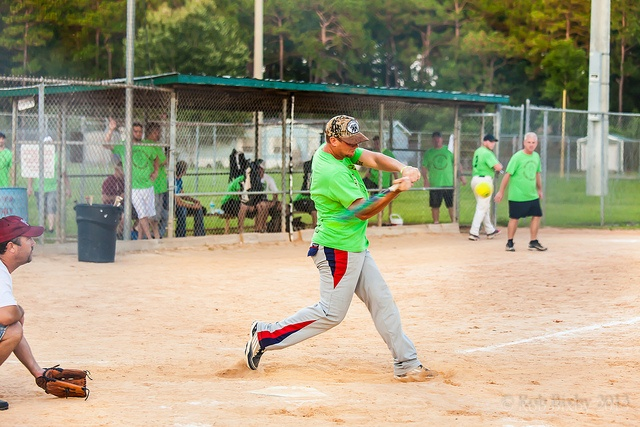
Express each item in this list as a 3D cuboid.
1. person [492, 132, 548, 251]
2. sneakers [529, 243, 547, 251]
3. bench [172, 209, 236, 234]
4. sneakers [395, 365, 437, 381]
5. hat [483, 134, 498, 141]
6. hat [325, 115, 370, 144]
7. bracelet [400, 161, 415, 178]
[{"bbox_3d":[4.511,-0.460,22.198,0.914,2.630,0.716,-1,1,15],"label":"person"},{"bbox_3d":[4.897,0.758,22.303,0.413,0.182,0.144,4,1,-2],"label":"sneakers"},{"bbox_3d":[-2.685,0.105,23.746,1.498,0.766,0.094,1,5,6],"label":"bench"},{"bbox_3d":[1.537,2.564,16.004,0.664,0.275,0.241,-6,1,-1],"label":"sneakers"},{"bbox_3d":[4.059,-1.775,23.553,0.266,0.135,0.194,-5,8,-1],"label":"hat"},{"bbox_3d":[0.433,-1.325,15.728,0.587,0.298,0.408,5,14,18],"label":"hat"},{"bbox_3d":[1.374,-0.692,15.593,0.218,0.061,0.222,-9,-13,0],"label":"bracelet"}]
